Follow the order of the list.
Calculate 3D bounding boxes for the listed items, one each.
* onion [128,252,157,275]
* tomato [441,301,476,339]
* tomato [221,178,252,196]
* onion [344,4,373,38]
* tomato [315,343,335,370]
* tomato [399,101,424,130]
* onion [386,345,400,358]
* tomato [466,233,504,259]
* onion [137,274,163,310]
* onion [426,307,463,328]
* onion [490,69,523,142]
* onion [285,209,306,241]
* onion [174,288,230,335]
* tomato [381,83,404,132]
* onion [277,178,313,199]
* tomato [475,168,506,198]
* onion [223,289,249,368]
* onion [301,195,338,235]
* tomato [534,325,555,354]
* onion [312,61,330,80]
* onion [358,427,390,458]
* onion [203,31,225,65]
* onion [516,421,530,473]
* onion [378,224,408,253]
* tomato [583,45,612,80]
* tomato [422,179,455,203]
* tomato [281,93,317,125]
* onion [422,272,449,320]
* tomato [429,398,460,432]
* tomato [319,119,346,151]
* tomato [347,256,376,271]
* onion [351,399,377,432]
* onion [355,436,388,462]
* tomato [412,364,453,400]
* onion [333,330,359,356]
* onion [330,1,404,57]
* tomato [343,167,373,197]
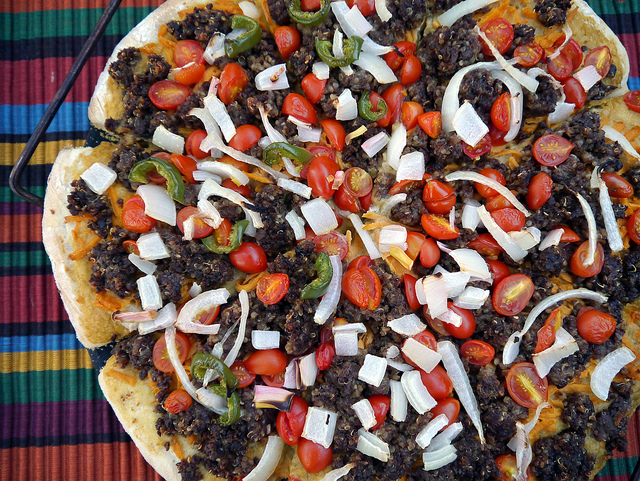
[{"bbox_3d":[-1.393,0.168,6.270,0.192,0.058,0.136,38,77,-30],"label":"onion"},{"bbox_3d":[1.098,0.620,6.399,0.316,0.448,0.352,1,89,17],"label":"tomato"},{"bbox_3d":[-0.669,-0.425,6.289,0.170,0.131,0.102,21,87,-3],"label":"tomato"},{"bbox_3d":[0.296,-1.697,6.270,0.178,0.072,0.247,-39,102,-7],"label":"onion"},{"bbox_3d":[0.040,0.891,6.271,0.134,0.099,0.188,6,84,36],"label":"tomato"},{"bbox_3d":[0.695,-0.999,6.303,0.121,0.201,0.217,0,73,-13],"label":"tomato"},{"bbox_3d":[0.560,0.848,6.228,0.080,0.032,0.101,31,85,-24],"label":"onion"},{"bbox_3d":[1.302,0.052,6.318,0.227,0.130,0.200,-7,119,7],"label":"tomato"},{"bbox_3d":[-1.355,0.411,6.347,0.222,0.339,0.225,-4,44,-8],"label":"onion"},{"bbox_3d":[0.952,0.567,6.188,0.265,0.075,0.123,17,94,3],"label":"onion"},{"bbox_3d":[1.498,-1.100,6.388,0.290,0.093,0.488,-18,106,-17],"label":"onion"},{"bbox_3d":[-0.193,-0.133,6.280,0.136,0.057,0.216,-41,103,-13],"label":"onion"},{"bbox_3d":[-0.913,0.508,6.102,0.356,0.114,0.350,-4,87,-8],"label":"onion"},{"bbox_3d":[0.570,-1.055,6.361,0.102,0.228,0.290,7,93,30],"label":"tomato"},{"bbox_3d":[-0.193,-0.423,6.246,0.255,0.061,0.136,30,110,-4],"label":"onion"},{"bbox_3d":[1.325,-0.465,6.265,0.202,0.211,0.230,-2,116,2],"label":"tomato"},{"bbox_3d":[-0.621,0.648,6.170,0.162,0.156,0.613,7,93,13],"label":"onion"},{"bbox_3d":[-0.004,-0.200,6.260,0.207,0.124,0.282,-33,85,-4],"label":"onion"},{"bbox_3d":[1.742,0.749,6.233,0.120,0.063,0.214,20,88,-3],"label":"tomato"},{"bbox_3d":[0.004,-1.332,6.252,0.119,0.073,0.163,-26,69,-14],"label":"onion"},{"bbox_3d":[0.413,1.499,6.111,0.199,0.193,0.055,36,90,-19],"label":"onion"},{"bbox_3d":[-0.841,-1.515,6.416,0.128,0.054,0.268,26,93,16],"label":"onion"},{"bbox_3d":[1.554,1.558,6.205,0.099,0.102,0.403,4,84,-30],"label":"onion"},{"bbox_3d":[0.560,-0.028,6.228,0.185,0.078,0.203,2,90,27],"label":"onion"},{"bbox_3d":[2.342,-1.460,6.657,0.246,0.314,0.104,-27,64,37],"label":"tomato"},{"bbox_3d":[0.919,-0.382,6.250,0.232,0.093,0.173,11,84,0],"label":"tomato"},{"bbox_3d":[-0.161,-1.098,6.305,0.276,0.380,0.156,2,74,3],"label":"tomato"},{"bbox_3d":[0.892,0.411,6.164,0.196,0.084,0.327,-16,82,0],"label":"onion"},{"bbox_3d":[0.964,1.325,6.309,0.187,0.135,0.254,40,80,3],"label":"tomato"},{"bbox_3d":[0.098,-0.841,6.308,0.110,0.214,0.177,-16,95,-22],"label":"tomato"},{"bbox_3d":[0.328,0.158,6.325,0.129,0.130,0.086,-15,99,-44],"label":"tomato"},{"bbox_3d":[0.340,1.303,6.118,0.140,0.080,0.231,-31,85,-4],"label":"onion"},{"bbox_3d":[0.383,1.563,6.150,0.249,0.068,0.136,23,112,15],"label":"onion"},{"bbox_3d":[0.907,1.114,6.284,0.277,0.152,0.211,28,50,31],"label":"tomato"},{"bbox_3d":[0.199,0.775,6.205,0.174,0.085,0.196,0,84,-1],"label":"onion"},{"bbox_3d":[0.336,-1.663,6.290,0.500,0.163,0.129,39,64,-9],"label":"onion"},{"bbox_3d":[0.291,-0.464,6.299,0.229,0.065,0.224,1,84,-1],"label":"tomato"}]
